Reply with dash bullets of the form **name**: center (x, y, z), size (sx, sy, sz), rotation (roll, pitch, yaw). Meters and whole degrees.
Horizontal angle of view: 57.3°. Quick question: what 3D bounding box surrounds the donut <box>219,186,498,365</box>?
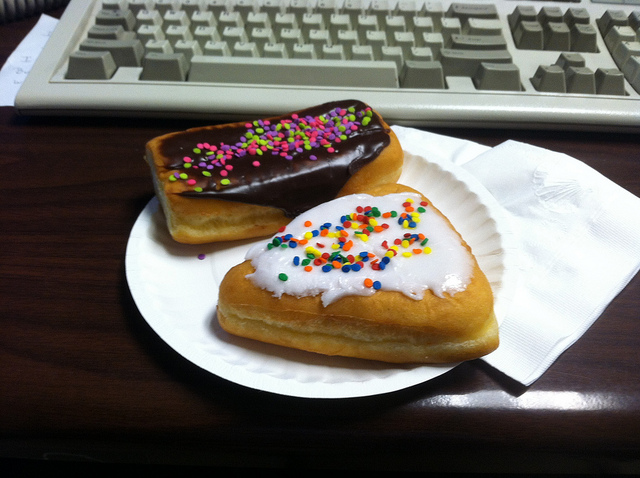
- **donut**: center (0.073, 0.040, 0.850), size (0.393, 0.078, 0.265), rotation (9, 52, 7)
